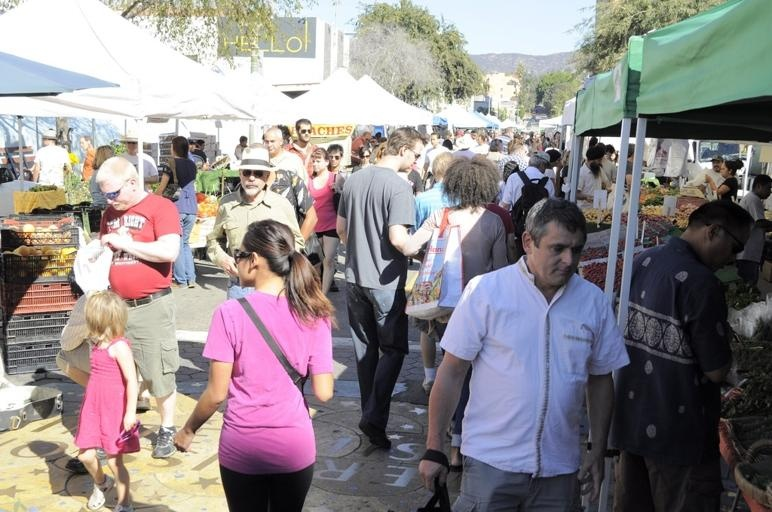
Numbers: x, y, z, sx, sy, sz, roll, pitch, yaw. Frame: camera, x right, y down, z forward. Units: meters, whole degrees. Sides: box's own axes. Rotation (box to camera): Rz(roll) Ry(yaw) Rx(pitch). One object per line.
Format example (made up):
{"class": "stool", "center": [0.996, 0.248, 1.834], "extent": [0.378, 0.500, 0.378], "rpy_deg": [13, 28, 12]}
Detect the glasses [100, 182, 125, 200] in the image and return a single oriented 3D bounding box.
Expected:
{"class": "glasses", "center": [-2.288, -0.543, 5.020], "extent": [0.102, 0.035, 0.108], "rpy_deg": [-4, 45, 25]}

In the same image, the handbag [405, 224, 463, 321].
{"class": "handbag", "center": [0.464, 0.064, 5.274], "extent": [0.293, 0.880, 0.569], "rpy_deg": [9, -13, -19]}

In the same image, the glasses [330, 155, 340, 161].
{"class": "glasses", "center": [-0.833, -1.581, 9.598], "extent": [0.125, 0.041, 0.122], "rpy_deg": [1, 4, 4]}

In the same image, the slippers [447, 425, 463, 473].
{"class": "slippers", "center": [0.625, 1.714, 5.373], "extent": [0.104, 0.385, 0.217], "rpy_deg": [1, 7, 8]}

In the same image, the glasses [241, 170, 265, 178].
{"class": "glasses", "center": [-1.248, -0.771, 5.621], "extent": [0.194, 0.070, 0.062], "rpy_deg": [-1, 7, -16]}
